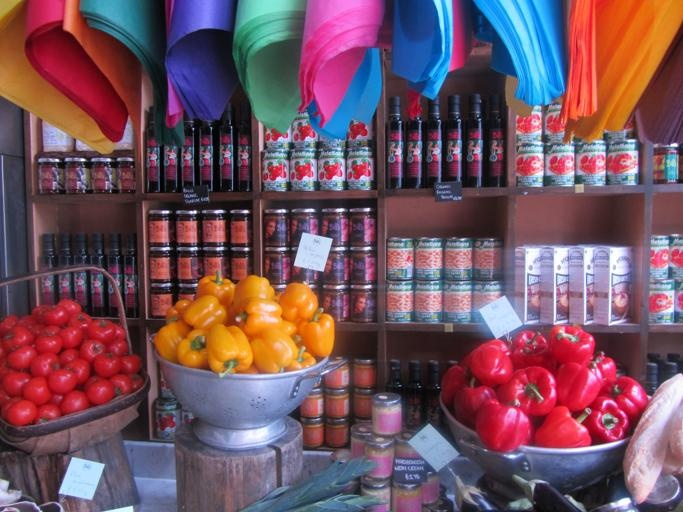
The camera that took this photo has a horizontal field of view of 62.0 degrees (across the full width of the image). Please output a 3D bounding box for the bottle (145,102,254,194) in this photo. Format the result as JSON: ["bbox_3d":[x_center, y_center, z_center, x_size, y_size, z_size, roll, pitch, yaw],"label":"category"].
[{"bbox_3d":[-0.623,-0.464,2.462,0.497,0.378,0.118,0,3,16],"label":"bottle"}]

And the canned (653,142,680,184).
[{"bbox_3d":[1.278,-0.356,2.227,0.111,0.147,0.044,-1,3,0],"label":"canned"}]

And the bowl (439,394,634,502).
[{"bbox_3d":[0.453,0.521,1.585,0.406,0.159,0.417,6,2,0],"label":"bowl"}]

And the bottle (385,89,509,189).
[{"bbox_3d":[0.426,-0.459,2.313,0.488,0.370,0.089,0,3,4],"label":"bottle"}]

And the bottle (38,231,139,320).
[{"bbox_3d":[-1.078,0.096,2.448,0.398,0.369,0.141,-1,1,-1],"label":"bottle"}]

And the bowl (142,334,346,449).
[{"bbox_3d":[-0.282,0.402,1.632,0.559,0.214,0.422,1,-3,23],"label":"bowl"}]
